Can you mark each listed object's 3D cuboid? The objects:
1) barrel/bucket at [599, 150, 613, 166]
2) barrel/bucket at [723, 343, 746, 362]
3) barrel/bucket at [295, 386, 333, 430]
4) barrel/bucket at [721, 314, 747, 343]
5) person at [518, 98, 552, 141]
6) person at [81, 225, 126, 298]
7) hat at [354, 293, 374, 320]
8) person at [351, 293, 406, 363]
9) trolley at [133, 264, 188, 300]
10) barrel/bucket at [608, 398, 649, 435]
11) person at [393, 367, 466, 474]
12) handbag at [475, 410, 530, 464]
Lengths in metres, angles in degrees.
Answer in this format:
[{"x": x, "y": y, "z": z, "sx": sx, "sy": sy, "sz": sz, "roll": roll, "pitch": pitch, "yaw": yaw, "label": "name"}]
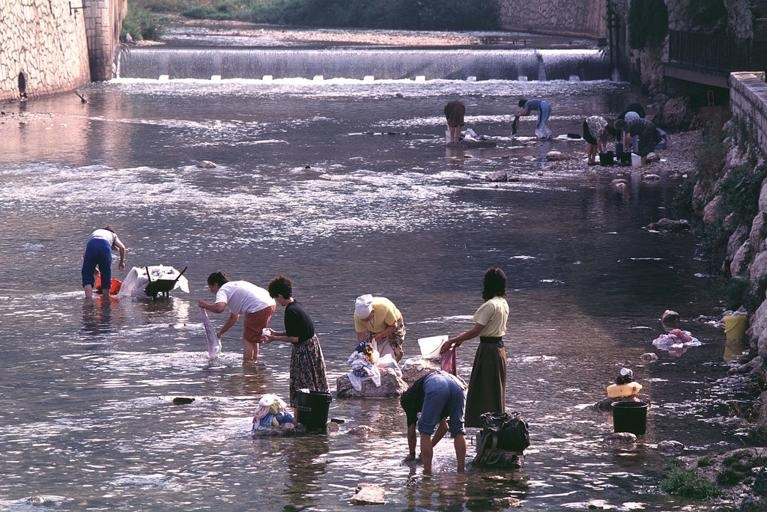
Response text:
[{"x": 6.316, "y": -2.740, "z": 45.809, "sx": 0.454, "sy": 0.401, "sz": 0.428, "roll": -3, "pitch": 6, "yaw": 0, "label": "barrel/bucket"}, {"x": 7.041, "y": 1.915, "z": 32.791, "sx": 0.400, "sy": 0.315, "sz": 0.653, "roll": 0, "pitch": 1, "yaw": 12, "label": "barrel/bucket"}, {"x": -1.342, "y": 2.912, "z": 31.008, "sx": 0.833, "sy": 0.648, "sz": 0.854, "roll": 3, "pitch": -11, "yaw": 1, "label": "barrel/bucket"}, {"x": 7.196, "y": 1.478, "z": 33.334, "sx": 0.558, "sy": 0.446, "sz": 0.581, "roll": 2, "pitch": 0, "yaw": 0, "label": "barrel/bucket"}, {"x": 4.821, "y": -4.279, "z": 51.432, "sx": 0.910, "sy": 1.329, "sz": 2.365, "roll": -1, "pitch": 1, "yaw": 6, "label": "person"}, {"x": -6.162, "y": 0.121, "z": 35.515, "sx": 0.913, "sy": 1.541, "sz": 0.550, "roll": -1, "pitch": 1, "yaw": -26, "label": "person"}, {"x": -0.412, "y": 0.952, "z": 31.813, "sx": 0.411, "sy": 0.440, "sz": 0.452, "roll": -3, "pitch": 42, "yaw": 11, "label": "hat"}, {"x": -0.082, "y": 1.414, "z": 32.002, "sx": 1.031, "sy": 1.304, "sz": 0.602, "roll": -1, "pitch": 1, "yaw": -17, "label": "person"}, {"x": -4.875, "y": 0.541, "z": 35.385, "sx": 0.840, "sy": 0.510, "sz": 0.908, "roll": 0, "pitch": 14, "yaw": -17, "label": "trolley"}, {"x": 4.588, "y": 3.018, "z": 30.682, "sx": 0.759, "sy": 0.439, "sz": 0.628, "roll": -1, "pitch": 4, "yaw": 2, "label": "barrel/bucket"}, {"x": 0.912, "y": 3.026, "z": 30.047, "sx": 1.179, "sy": 1.840, "sz": 0.486, "roll": -1, "pitch": 1, "yaw": 2, "label": "person"}, {"x": 2.148, "y": 3.372, "z": 30.002, "sx": 0.983, "sy": 0.973, "sz": 0.274, "roll": -1, "pitch": 1, "yaw": 1, "label": "handbag"}]
